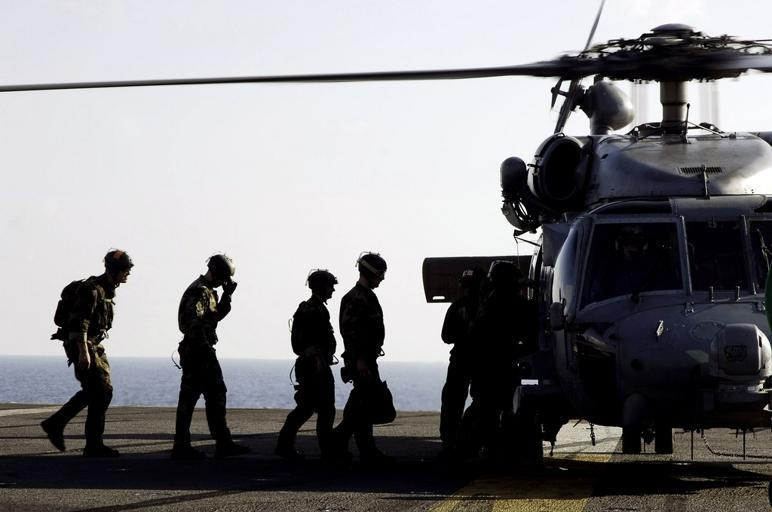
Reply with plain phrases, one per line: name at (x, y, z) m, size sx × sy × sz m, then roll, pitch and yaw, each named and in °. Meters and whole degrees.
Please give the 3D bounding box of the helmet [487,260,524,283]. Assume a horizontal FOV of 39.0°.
helmet at (1.353, 0.236, 12.273) m, size 0.272 × 0.233 × 0.322 m, roll 3°, pitch -37°, yaw 8°

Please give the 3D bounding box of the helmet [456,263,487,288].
helmet at (1.161, 0.262, 13.666) m, size 0.466 × 0.370 × 0.297 m, roll 1°, pitch -2°, yaw -5°

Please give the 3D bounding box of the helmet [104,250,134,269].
helmet at (-2.981, 0.056, 12.124) m, size 0.306 × 0.220 × 0.222 m, roll -8°, pitch 18°, yaw 11°
